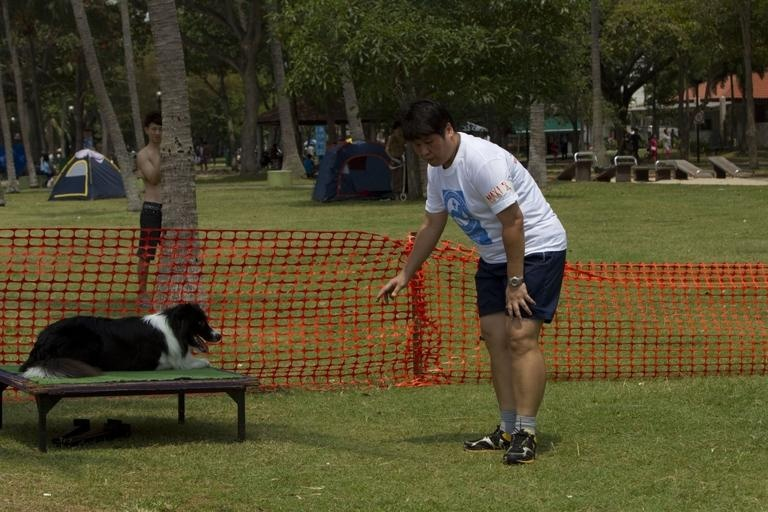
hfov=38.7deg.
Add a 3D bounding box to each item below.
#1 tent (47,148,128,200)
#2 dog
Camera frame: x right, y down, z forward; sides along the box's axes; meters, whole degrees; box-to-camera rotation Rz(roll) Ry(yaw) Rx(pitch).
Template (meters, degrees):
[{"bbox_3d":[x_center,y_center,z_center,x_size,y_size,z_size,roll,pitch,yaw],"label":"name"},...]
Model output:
[{"bbox_3d":[-9.308,-2.431,34.148,2.025,1.272,2.219,2,3,42],"label":"tent"},{"bbox_3d":[-2.716,0.867,11.241,1.633,0.538,0.861,0,1,-12],"label":"dog"}]
